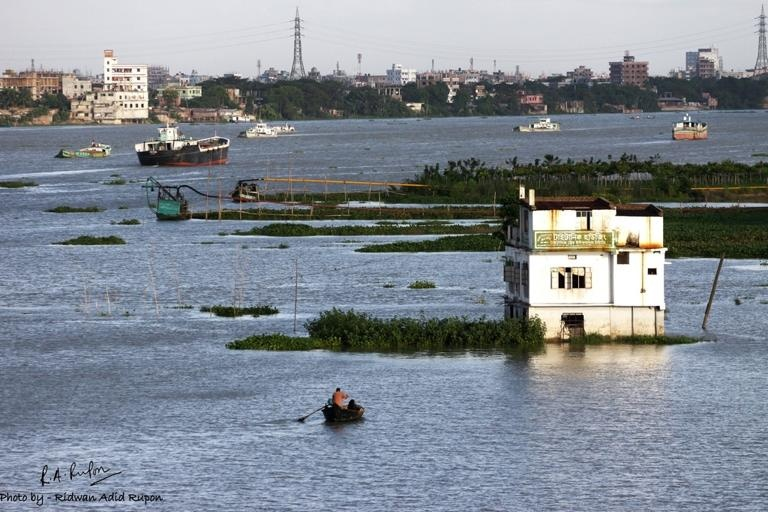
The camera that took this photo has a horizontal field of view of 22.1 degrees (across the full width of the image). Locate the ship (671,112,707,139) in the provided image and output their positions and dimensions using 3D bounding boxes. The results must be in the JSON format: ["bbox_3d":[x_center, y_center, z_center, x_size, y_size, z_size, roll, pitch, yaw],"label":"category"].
[{"bbox_3d":[54.859,-23.084,356.239,5.583,3.415,8.086,0,8,4],"label":"ship"}]

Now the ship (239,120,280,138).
[{"bbox_3d":[-26.707,-27.299,420.768,6.906,3.358,21.341,-1,8,-1],"label":"ship"}]

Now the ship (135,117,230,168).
[{"bbox_3d":[-31.227,-17.744,315.504,9.555,5.971,16.222,2,6,36],"label":"ship"}]

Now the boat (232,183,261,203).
[{"bbox_3d":[-18.770,-8.779,263.600,3.543,2.620,5.163,-3,8,-13],"label":"boat"}]

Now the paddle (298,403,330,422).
[{"bbox_3d":[-7.010,15.104,192.262,2.648,0.455,0.461,-29,50,-19],"label":"paddle"}]

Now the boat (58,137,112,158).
[{"bbox_3d":[-52.735,-19.154,346.556,8.273,2.940,17.222,-2,8,-4],"label":"boat"}]

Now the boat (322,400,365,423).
[{"bbox_3d":[-4.101,15.079,191.940,3.270,1.380,1.899,4,-8,-18],"label":"boat"}]
